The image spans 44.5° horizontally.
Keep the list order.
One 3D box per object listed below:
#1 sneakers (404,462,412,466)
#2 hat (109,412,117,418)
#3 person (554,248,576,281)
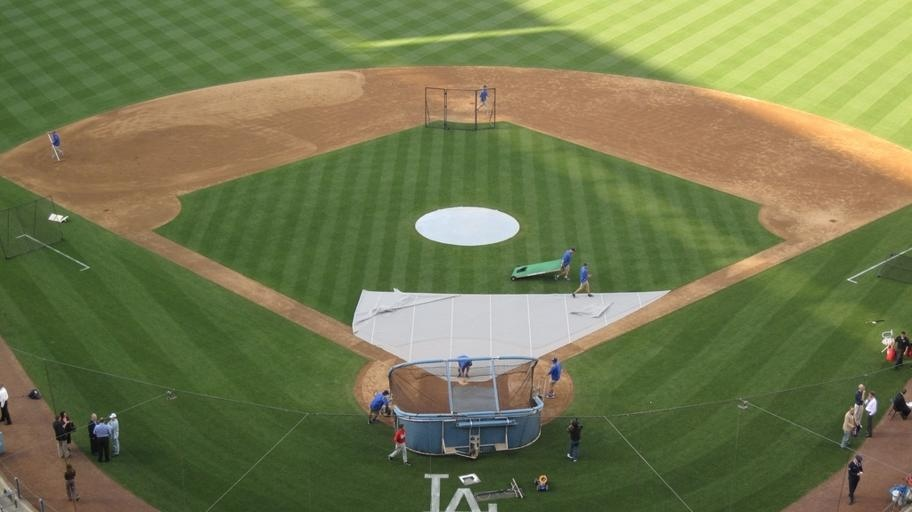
[{"bbox_3d":[-3.033,13.146,70.951,0.316,0.158,0.268,16,21,40],"label":"sneakers"},{"bbox_3d":[-21.681,10.115,71.020,0.454,0.149,0.440,4,3,13],"label":"hat"},{"bbox_3d":[7.996,0.659,81.764,1.556,1.134,2.689,-8,-19,-2],"label":"person"}]
